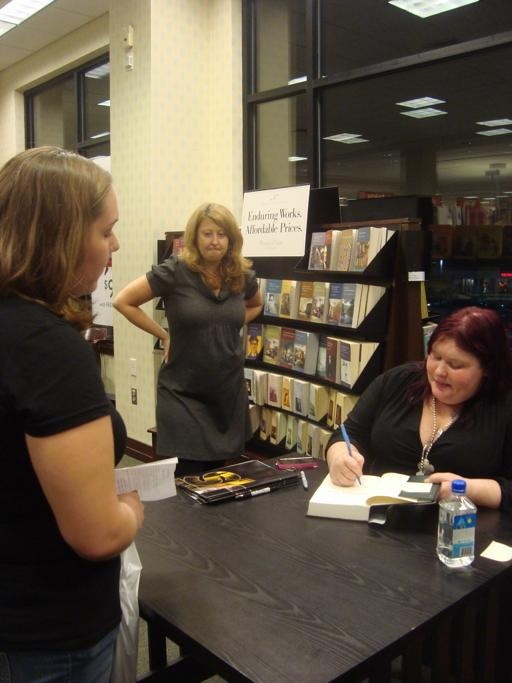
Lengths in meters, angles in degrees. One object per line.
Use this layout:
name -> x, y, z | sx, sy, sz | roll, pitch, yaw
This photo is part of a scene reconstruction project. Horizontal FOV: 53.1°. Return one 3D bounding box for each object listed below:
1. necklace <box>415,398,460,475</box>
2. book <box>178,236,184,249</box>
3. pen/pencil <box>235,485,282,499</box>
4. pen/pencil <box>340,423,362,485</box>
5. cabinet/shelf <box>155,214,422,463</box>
necklace -> 0.585, 0.302, 1.650 | 0.092, 0.284, 0.042 | -6, -45, 49
book -> -0.572, -0.754, 3.889 | 0.022, 0.088, 0.093 | 7, 6, -16
pen/pencil -> 0.000, 0.447, 1.520 | 0.111, 0.015, 0.015 | -5, 17, -29
pen/pencil -> 0.298, 0.355, 1.625 | 0.020, 0.199, 0.026 | -13, 14, 34
cabinet/shelf -> 0.200, -0.043, 2.735 | 1.701, 1.736, 0.444 | -1, 0, -19
